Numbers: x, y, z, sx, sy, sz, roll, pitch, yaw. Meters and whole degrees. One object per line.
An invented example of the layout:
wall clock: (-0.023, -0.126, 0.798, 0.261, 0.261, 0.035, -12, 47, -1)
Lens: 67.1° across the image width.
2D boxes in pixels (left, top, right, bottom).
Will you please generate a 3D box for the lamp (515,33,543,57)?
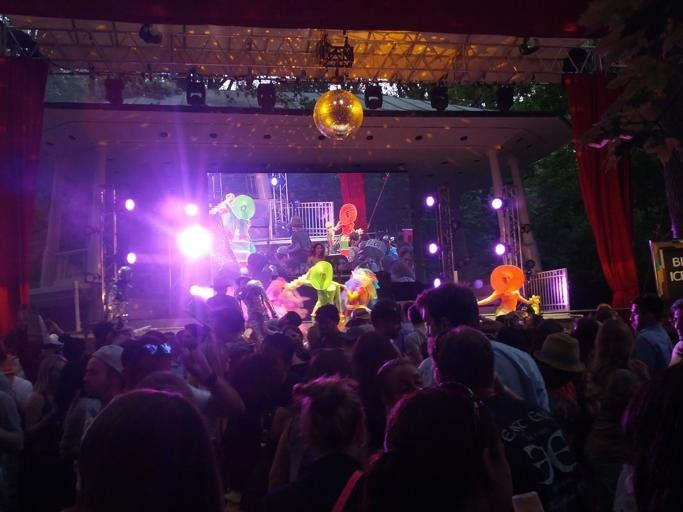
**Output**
lamp: (4.159, -4.662, 11.444, 0.609, 0.304, 0.358, 2, -5, -42)

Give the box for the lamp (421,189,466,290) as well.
lamp: (3.151, -0.366, 16.098, 1.087, 3.512, 0.618, -9, 17, -7)

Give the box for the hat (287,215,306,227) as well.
hat: (-1.234, -0.958, 14.253, 0.331, 0.351, 0.253, -7, 11, -41)

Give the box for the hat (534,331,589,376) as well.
hat: (1.372, 0.595, 3.325, 0.412, 0.239, 0.358, 4, 9, 29)
